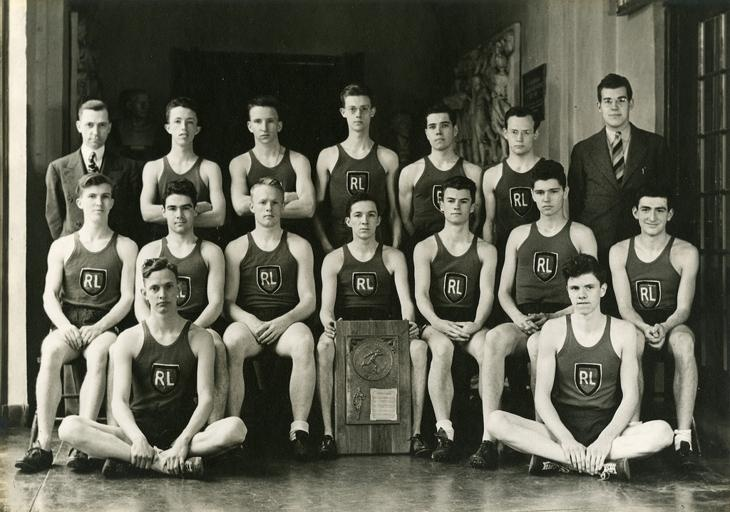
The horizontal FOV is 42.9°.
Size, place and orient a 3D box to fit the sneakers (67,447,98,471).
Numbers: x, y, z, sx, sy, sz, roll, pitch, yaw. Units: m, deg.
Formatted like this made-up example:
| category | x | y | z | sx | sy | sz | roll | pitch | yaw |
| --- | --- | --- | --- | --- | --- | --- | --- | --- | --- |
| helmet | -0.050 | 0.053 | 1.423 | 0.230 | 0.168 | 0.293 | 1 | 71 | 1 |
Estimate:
| category | x | y | z | sx | sy | sz | roll | pitch | yaw |
| --- | --- | --- | --- | --- | --- | --- | --- | --- | --- |
| sneakers | -1.696 | 1.221 | 5.567 | 0.083 | 0.104 | 0.243 | 2 | -2 | -35 |

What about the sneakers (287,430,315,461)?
| category | x | y | z | sx | sy | sz | roll | pitch | yaw |
| --- | --- | --- | --- | --- | --- | --- | --- | --- | --- |
| sneakers | -0.406 | 1.206 | 5.823 | 0.102 | 0.204 | 0.212 | -8 | -40 | -13 |

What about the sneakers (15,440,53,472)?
| category | x | y | z | sx | sy | sz | roll | pitch | yaw |
| --- | --- | --- | --- | --- | --- | --- | --- | --- | --- |
| sneakers | -1.963 | 1.217 | 5.540 | 0.097 | 0.139 | 0.270 | -1 | -15 | 10 |

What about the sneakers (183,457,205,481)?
| category | x | y | z | sx | sy | sz | roll | pitch | yaw |
| --- | --- | --- | --- | --- | --- | --- | --- | --- | --- |
| sneakers | -1.002 | 1.244 | 5.433 | 0.131 | 0.086 | 0.142 | 6 | -35 | -6 |

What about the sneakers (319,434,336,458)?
| category | x | y | z | sx | sy | sz | roll | pitch | yaw |
| --- | --- | --- | --- | --- | --- | --- | --- | --- | --- |
| sneakers | -0.235 | 1.205 | 5.870 | 0.102 | 0.134 | 0.100 | -1 | -3 | -1 |

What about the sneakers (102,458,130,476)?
| category | x | y | z | sx | sy | sz | roll | pitch | yaw |
| --- | --- | --- | --- | --- | --- | --- | --- | --- | --- |
| sneakers | -1.455 | 1.233 | 5.434 | 0.142 | 0.135 | 0.082 | 2 | -3 | -9 |
